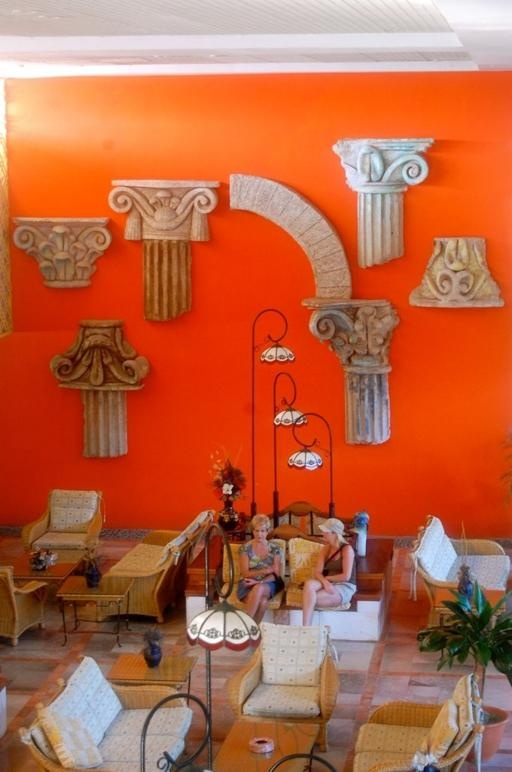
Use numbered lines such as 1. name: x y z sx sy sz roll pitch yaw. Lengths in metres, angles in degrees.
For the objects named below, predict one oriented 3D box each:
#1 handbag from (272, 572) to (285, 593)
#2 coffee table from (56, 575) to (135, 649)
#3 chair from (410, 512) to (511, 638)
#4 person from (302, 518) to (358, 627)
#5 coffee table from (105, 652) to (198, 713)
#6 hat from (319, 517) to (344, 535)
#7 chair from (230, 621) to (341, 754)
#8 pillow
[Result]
1. handbag: 0.228 1.967 7.617 0.148 0.158 0.177 0 -3 -6
2. coffee table: -1.687 2.287 8.137 0.874 0.567 0.645 1 4 5
3. chair: 2.111 2.065 8.074 1.158 1.011 1.313 -2 19 11
4. person: 0.709 1.795 7.419 0.398 0.942 0.758 1 5 27
5. coffee table: -0.854 2.247 5.852 0.514 0.427 0.489 5 13 20
6. hat: 0.760 1.373 7.524 0.228 0.103 0.155 13 4 -6
7. chair: 0.301 2.153 5.778 0.934 0.917 0.843 1 4 11
8. pillow: -1.081 2.069 4.499 0.281 0.362 0.298 -5 6 -38
